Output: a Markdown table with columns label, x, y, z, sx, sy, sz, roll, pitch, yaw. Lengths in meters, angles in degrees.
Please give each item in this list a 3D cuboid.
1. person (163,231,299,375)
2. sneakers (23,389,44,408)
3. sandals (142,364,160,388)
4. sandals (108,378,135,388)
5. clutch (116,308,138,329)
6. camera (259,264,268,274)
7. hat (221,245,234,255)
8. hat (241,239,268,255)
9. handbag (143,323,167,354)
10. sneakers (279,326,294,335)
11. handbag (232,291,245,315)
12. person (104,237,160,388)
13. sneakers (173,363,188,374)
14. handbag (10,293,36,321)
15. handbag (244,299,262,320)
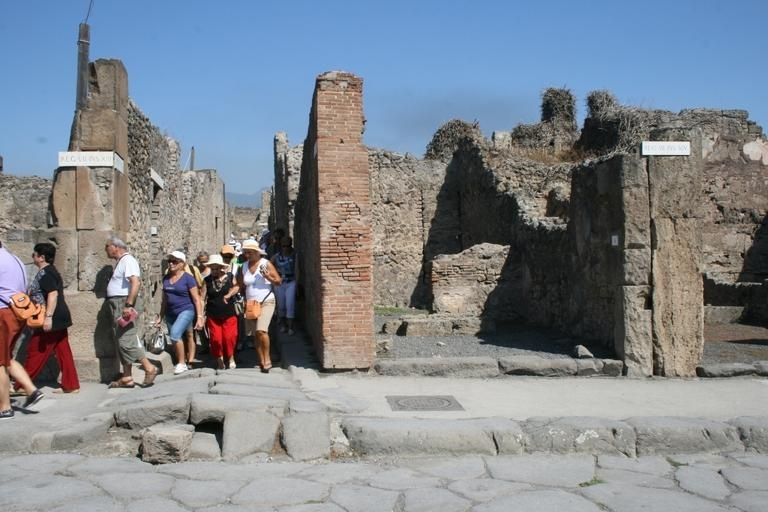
| label | x | y | z | sx | sy | sz | roll | pitch | yaw |
| --- | --- | --- | --- | --- | --- | --- | --- | --- | --- |
| person | -2.110 | 0.703 | 12.194 | 1.075 | 1.847 | 1.184 | 2 | -1 | -6 |
| sneakers | -4.464 | 1.785 | 10.263 | 0.204 | 0.253 | 0.391 | 2 | -1 | -27 |
| sandals | -3.233 | 1.668 | 11.186 | 0.149 | 0.348 | 0.139 | 17 | 31 | -12 |
| sandals | -3.666 | 1.754 | 11.241 | 0.345 | 0.112 | 0.160 | 2 | -3 | 5 |
| clutch | -3.509 | 0.839 | 11.053 | 0.128 | 0.213 | 0.284 | 47 | 9 | -1 |
| camera | -1.753 | 0.167 | 11.765 | 0.134 | 0.112 | 0.109 | 1 | 2 | -2 |
| hat | -2.616 | -0.114 | 13.483 | 0.239 | 0.120 | 0.354 | 0 | -4 | -12 |
| hat | -1.908 | -0.148 | 11.816 | 0.249 | 0.095 | 0.261 | 11 | -14 | 13 |
| handbag | -3.550 | 1.270 | 12.463 | 0.248 | 0.479 | 0.342 | 12 | 26 | -32 |
| sneakers | -1.742 | 1.308 | 14.360 | 0.124 | 0.142 | 0.356 | 0 | 3 | -24 |
| handbag | -2.214 | 0.680 | 12.214 | 0.231 | 0.374 | 0.278 | -4 | -21 | -15 |
| person | -3.565 | 0.780 | 11.303 | 0.646 | 2.066 | 0.798 | 2 | -1 | -24 |
| sneakers | -2.960 | 1.619 | 11.734 | 0.116 | 0.103 | 0.299 | -2 | -9 | 6 |
| handbag | -4.579 | 0.644 | 10.236 | 0.105 | 0.342 | 0.259 | -20 | 15 | 44 |
| handbag | -1.926 | 0.769 | 11.760 | 0.194 | 0.272 | 0.267 | 2 | -1 | -26 |
